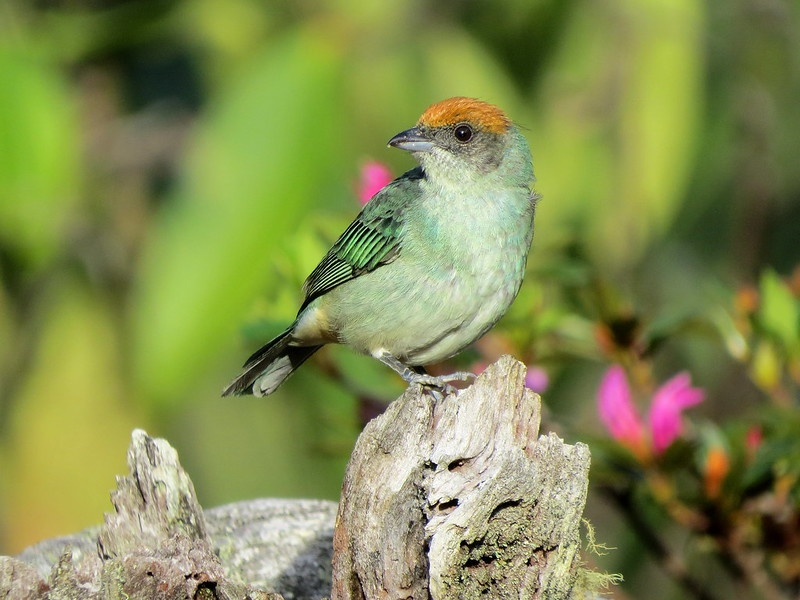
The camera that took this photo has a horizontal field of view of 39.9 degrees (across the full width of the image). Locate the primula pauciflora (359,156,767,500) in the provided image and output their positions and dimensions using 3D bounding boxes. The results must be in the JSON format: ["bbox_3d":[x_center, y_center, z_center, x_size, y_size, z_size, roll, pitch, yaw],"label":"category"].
[{"bbox_3d":[1.282,0.290,7.000,1.466,2.280,0.869,-17,7,21],"label":"primula pauciflora"}]
